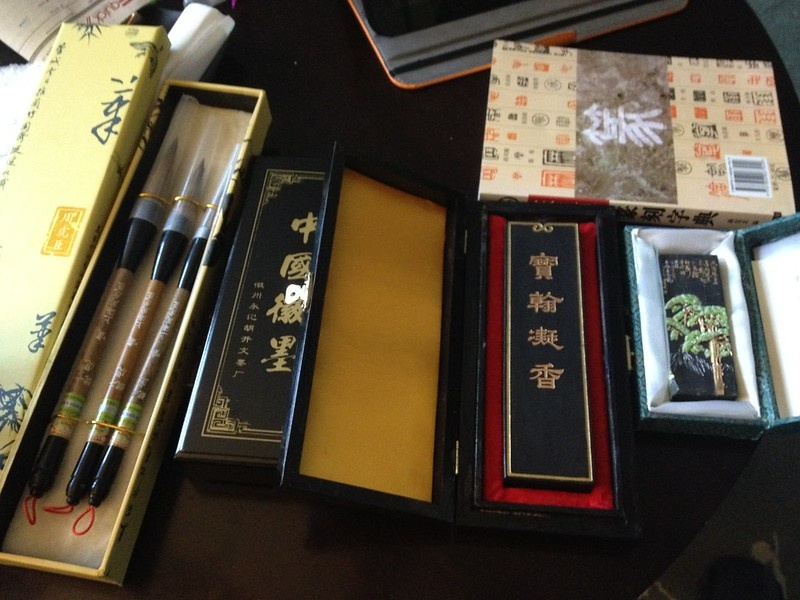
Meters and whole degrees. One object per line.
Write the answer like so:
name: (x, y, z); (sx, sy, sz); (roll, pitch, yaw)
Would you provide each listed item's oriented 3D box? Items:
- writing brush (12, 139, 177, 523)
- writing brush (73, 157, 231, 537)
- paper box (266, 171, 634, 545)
writing brush: (-0.413, -0.027, 0.947); (0.066, 0.699, 0.066); (15, -12, 14)
writing brush: (-0.328, -0.021, 1.005); (0.101, 0.743, 0.094); (22, -25, -18)
paper box: (0.102, 0.089, 0.942); (0.478, 0.486, 0.129); (10, -24, -2)
